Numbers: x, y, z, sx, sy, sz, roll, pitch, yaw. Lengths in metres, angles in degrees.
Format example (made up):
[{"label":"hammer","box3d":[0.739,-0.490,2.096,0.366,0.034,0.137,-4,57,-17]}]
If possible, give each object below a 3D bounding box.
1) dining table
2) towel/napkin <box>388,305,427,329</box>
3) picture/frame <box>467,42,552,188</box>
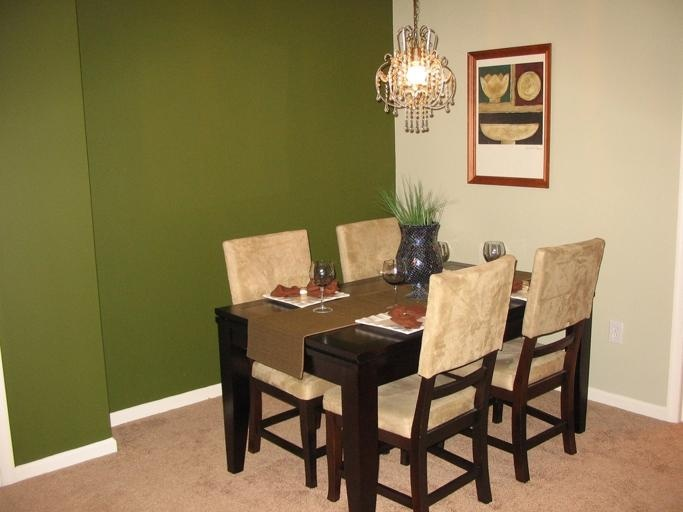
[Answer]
[{"label":"dining table","box3d":[-0.032,0.450,2.978,0.965,0.886,1.533,7,11,44]},{"label":"towel/napkin","box3d":[0.325,0.291,2.710,0.109,0.036,0.127,8,18,12]},{"label":"picture/frame","box3d":[1.224,-1.020,4.113,0.752,0.999,0.059,15,19,41]}]
